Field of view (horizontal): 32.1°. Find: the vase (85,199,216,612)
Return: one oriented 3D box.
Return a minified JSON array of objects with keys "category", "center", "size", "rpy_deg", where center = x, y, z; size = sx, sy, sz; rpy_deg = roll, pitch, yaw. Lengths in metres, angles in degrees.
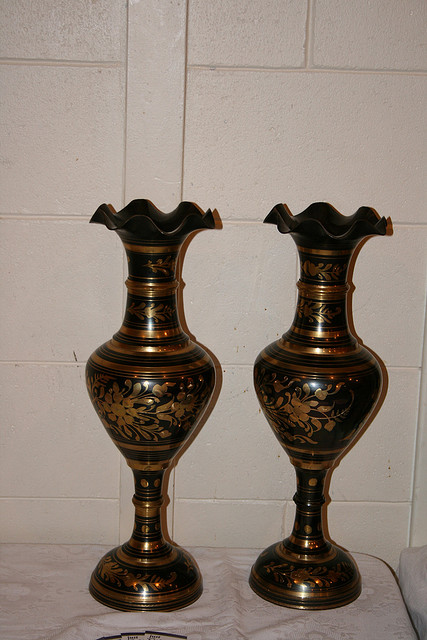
[{"category":"vase","center":[-0.135,0.163,1.489],"size":[0.235,0.798,0.300],"rpy_deg":[-5,15,-32]}]

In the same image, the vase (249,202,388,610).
[{"category":"vase","center":[0.204,0.167,1.507],"size":[0.232,0.799,0.265],"rpy_deg":[-1,14,-19]}]
